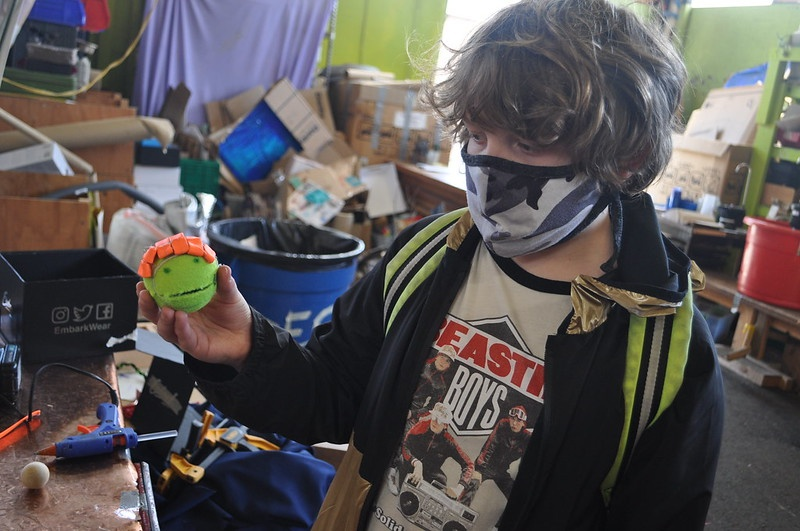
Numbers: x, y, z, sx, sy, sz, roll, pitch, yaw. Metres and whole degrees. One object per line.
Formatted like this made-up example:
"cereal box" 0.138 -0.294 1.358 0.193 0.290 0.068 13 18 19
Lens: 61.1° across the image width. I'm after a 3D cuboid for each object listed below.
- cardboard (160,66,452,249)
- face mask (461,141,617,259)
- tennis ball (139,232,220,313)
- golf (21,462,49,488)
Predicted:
"cardboard" -0.692 -0.677 4.586 1.502 1.047 0.821 24 5 -10
"face mask" 0.385 -0.182 2.061 0.336 0.211 0.343 17 36 36
"tennis ball" -0.686 0.033 2.064 0.215 0.238 0.219 -12 8 2
"golf" -1.092 0.621 2.015 0.075 0.074 0.060 -8 23 -31
